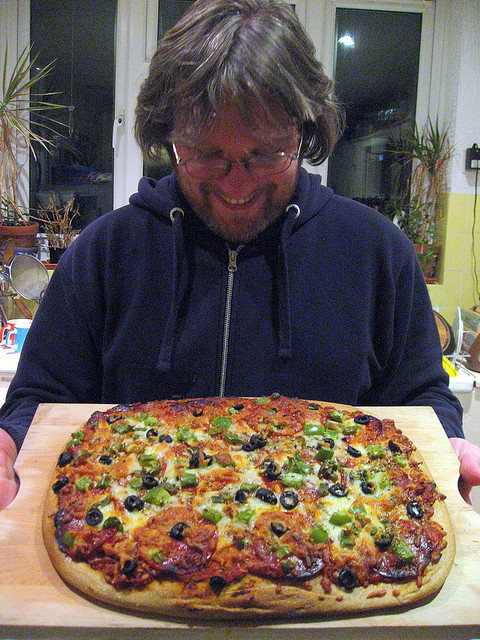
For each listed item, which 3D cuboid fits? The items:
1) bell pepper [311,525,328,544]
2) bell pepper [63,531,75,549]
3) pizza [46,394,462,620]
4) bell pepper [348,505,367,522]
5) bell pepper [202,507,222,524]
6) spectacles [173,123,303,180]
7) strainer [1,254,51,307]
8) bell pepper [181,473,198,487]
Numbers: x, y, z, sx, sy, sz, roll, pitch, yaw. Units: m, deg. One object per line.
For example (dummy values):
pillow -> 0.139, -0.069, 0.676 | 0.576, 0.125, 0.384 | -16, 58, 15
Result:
bell pepper -> 0.117, 0.316, 0.754 | 0.024, 0.019, 0.022 | 3, 13, 5
bell pepper -> -0.257, 0.331, 0.770 | 0.016, 0.021, 0.016 | -4, 55, -16
pizza -> 0.043, 0.283, 0.762 | 0.425, 0.052, 0.338 | 4, 23, -7
bell pepper -> 0.181, 0.297, 0.790 | 0.026, 0.013, 0.024 | 9, 15, 26
bell pepper -> -0.041, 0.292, 0.768 | 0.027, 0.016, 0.021 | 8, 14, 23
spectacles -> -0.005, -0.300, 0.908 | 0.150, 0.058, 0.091 | -11, 14, -31
strainer -> -1.058, -0.196, 2.501 | 0.170, 0.295, 0.356 | -8, 20, -30
bell pepper -> -0.084, 0.253, 0.814 | 0.021, 0.018, 0.017 | 5, 24, -1
